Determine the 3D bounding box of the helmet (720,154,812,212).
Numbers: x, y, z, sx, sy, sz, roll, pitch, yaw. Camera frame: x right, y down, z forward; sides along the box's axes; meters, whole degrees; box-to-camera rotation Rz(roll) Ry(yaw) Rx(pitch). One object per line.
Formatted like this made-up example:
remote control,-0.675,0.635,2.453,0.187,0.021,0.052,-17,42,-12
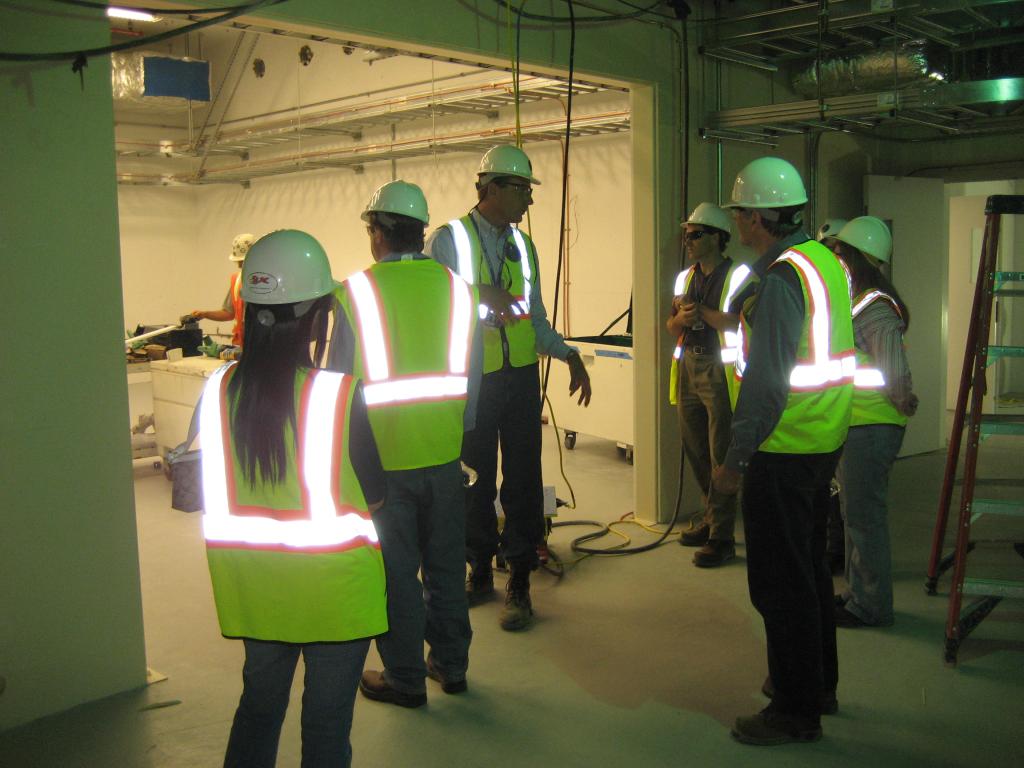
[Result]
helmet,1.187,-0.945,4.821,0.246,0.172,0.314,-14,26,-29

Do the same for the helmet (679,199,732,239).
helmet,1.266,-1.028,6.542,0.272,0.160,0.227,15,3,-26

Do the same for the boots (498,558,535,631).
boots,0.047,1.125,5.753,0.176,0.365,0.512,0,17,11

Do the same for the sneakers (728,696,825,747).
sneakers,1.204,1.555,4.654,0.400,0.251,0.178,1,0,1

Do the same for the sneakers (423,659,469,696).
sneakers,-0.338,1.441,5.071,0.096,0.124,0.277,-6,17,-36

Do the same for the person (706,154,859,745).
person,1.275,0.298,4.690,0.629,2.570,0.757,3,13,13

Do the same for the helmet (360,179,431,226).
helmet,-0.537,-0.855,4.790,0.270,0.151,0.224,23,6,10

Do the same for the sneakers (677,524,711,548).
sneakers,1.212,1.014,6.733,0.250,0.107,0.086,0,9,10

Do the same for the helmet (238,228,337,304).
helmet,-0.838,-0.429,3.754,0.302,0.204,0.267,-21,25,-36

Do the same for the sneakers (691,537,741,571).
sneakers,1.296,1.079,6.437,0.299,0.152,0.129,0,-1,-37

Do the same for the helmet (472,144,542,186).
helmet,-0.053,-1.183,5.456,0.297,0.178,0.252,1,13,7
